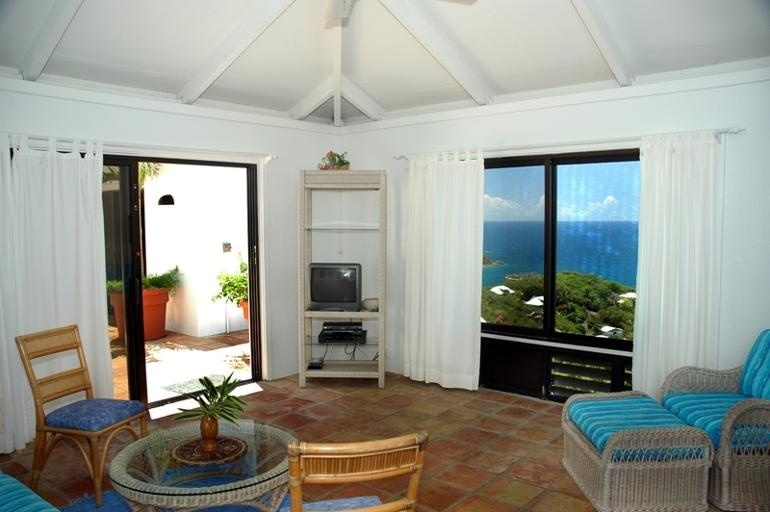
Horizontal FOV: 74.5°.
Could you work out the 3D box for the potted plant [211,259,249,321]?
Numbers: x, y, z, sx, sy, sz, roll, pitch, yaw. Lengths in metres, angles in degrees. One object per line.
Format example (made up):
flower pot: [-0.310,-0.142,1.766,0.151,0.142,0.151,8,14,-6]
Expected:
potted plant: [-2.494,0.602,8.234,0.618,0.976,0.328,-9,13,-36]

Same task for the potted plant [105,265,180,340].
potted plant: [-3.185,0.704,7.258,1.091,1.073,1.145,-2,0,13]

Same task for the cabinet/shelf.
cabinet/shelf: [-0.512,0.218,6.339,1.076,2.557,1.196,-1,11,1]
